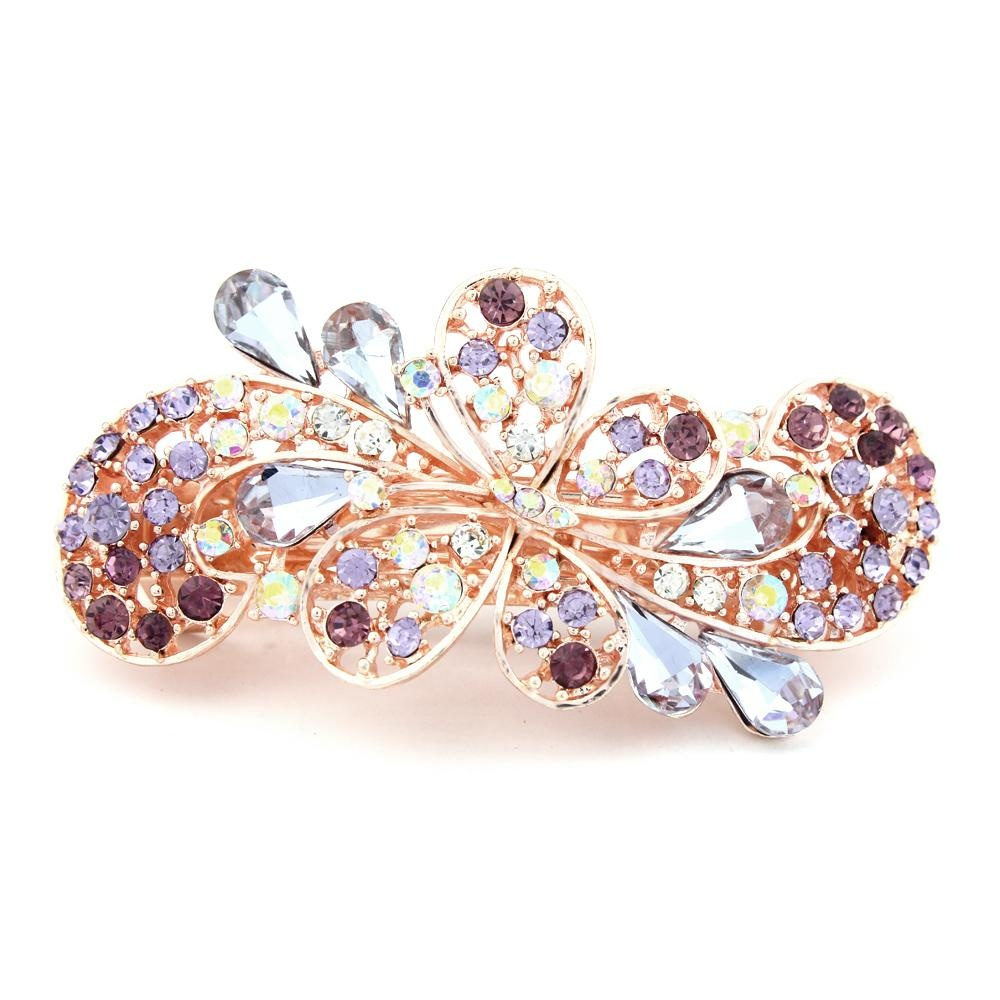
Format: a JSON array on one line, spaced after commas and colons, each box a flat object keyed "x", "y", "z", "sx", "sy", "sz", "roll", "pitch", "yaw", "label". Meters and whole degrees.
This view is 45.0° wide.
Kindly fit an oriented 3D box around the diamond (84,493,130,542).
[{"x": -0.757, "y": 0.030, "z": 2.328, "sx": 0.099, "sy": 0.046, "sz": 0.084, "roll": 0, "pitch": -88, "yaw": 9, "label": "diamond"}]

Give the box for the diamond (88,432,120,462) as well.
[{"x": -0.766, "y": -0.102, "z": 2.345, "sx": 0.064, "sy": 0.055, "sz": 0.022, "roll": -25, "pitch": -37, "yaw": 17, "label": "diamond"}]

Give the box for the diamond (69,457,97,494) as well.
[{"x": -0.807, "y": -0.051, "z": 2.354, "sx": 0.075, "sy": 0.033, "sz": 0.060, "roll": -2, "pitch": -84, "yaw": 1, "label": "diamond"}]
